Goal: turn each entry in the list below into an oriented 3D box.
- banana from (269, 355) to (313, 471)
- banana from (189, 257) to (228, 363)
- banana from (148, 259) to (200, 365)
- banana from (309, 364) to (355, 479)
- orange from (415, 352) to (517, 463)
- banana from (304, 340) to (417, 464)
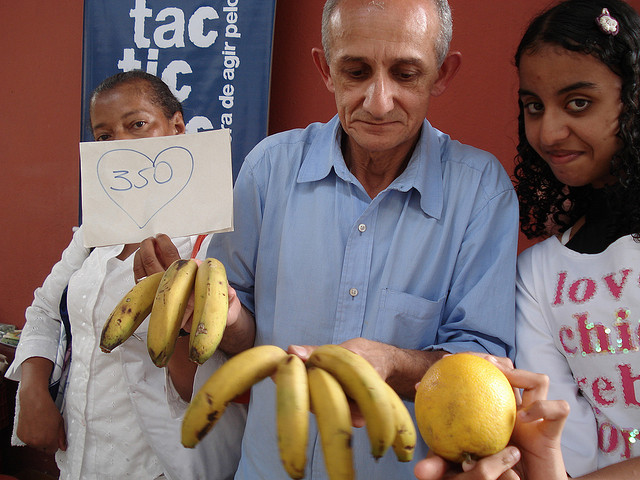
[{"bbox_3d":[-0.070,0.414,1.487,0.093,0.324,0.097,3,-44,-5],"label":"banana"},{"bbox_3d":[-0.276,0.178,1.578,0.073,0.276,0.082,-14,-39,18],"label":"banana"},{"bbox_3d":[-0.377,0.159,1.600,0.072,0.302,0.095,-15,-42,28],"label":"banana"},{"bbox_3d":[0.031,0.432,1.443,0.078,0.337,0.104,-4,-15,-18],"label":"banana"},{"bbox_3d":[0.402,0.481,1.600,0.241,0.320,0.277,2,-35,24],"label":"orange"},{"bbox_3d":[0.120,0.346,1.504,0.178,0.354,0.077,-29,-18,15],"label":"banana"}]
